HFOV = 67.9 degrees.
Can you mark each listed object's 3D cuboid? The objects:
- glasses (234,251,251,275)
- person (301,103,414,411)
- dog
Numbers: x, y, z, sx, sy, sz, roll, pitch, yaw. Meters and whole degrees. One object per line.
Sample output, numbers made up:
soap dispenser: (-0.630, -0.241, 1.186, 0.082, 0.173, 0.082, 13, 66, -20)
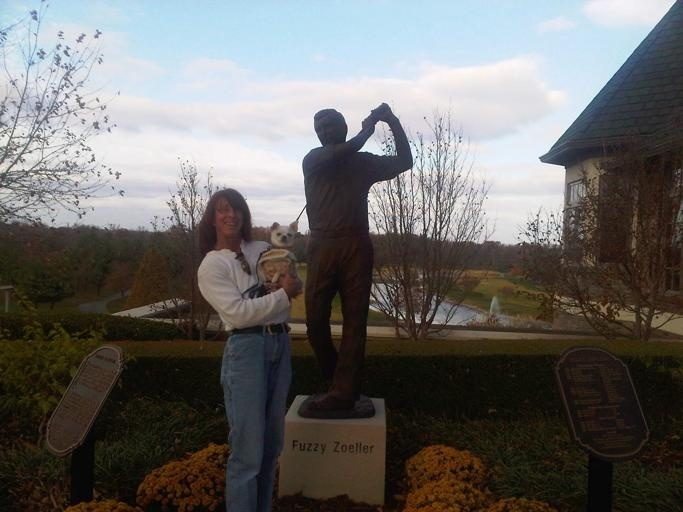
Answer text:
glasses: (-0.955, 0.064, 4.929, 0.112, 0.218, 0.045, -12, -6, -34)
person: (0.088, 0.020, 6.023, 1.123, 3.623, 0.778, 1, 5, -4)
dog: (-0.680, 0.004, 5.208, 0.339, 0.803, 0.466, 7, 8, -26)
